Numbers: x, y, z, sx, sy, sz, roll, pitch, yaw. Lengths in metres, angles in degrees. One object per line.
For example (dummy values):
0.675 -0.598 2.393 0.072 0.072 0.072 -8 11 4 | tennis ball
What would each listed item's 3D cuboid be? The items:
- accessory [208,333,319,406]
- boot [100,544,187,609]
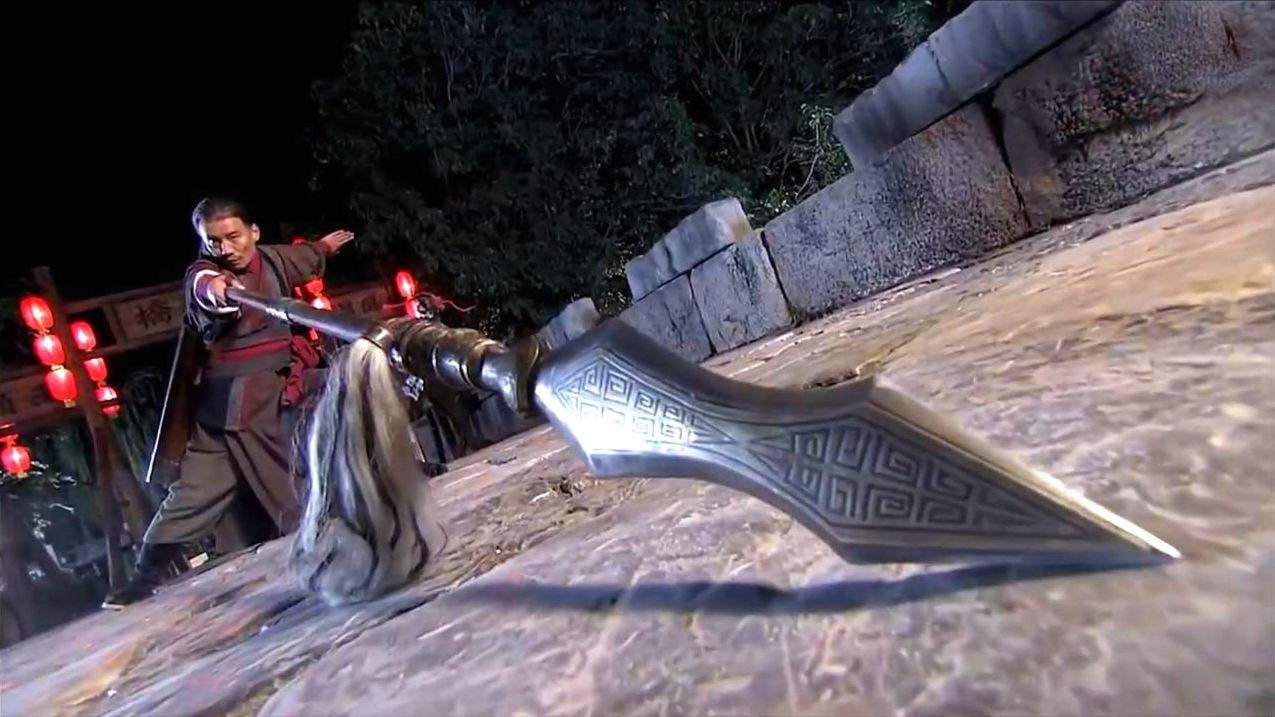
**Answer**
-2.542 0.075 5.114 0.319 0.525 0.368 -6 0 35 | accessory
-3.092 1.365 4.246 0.417 0.573 0.342 3 -3 -31 | boot
